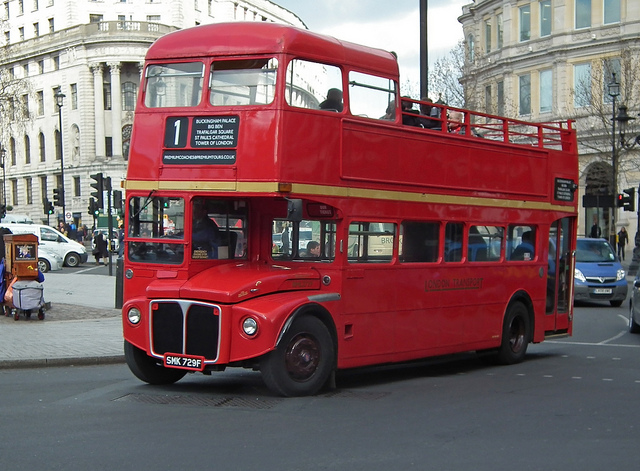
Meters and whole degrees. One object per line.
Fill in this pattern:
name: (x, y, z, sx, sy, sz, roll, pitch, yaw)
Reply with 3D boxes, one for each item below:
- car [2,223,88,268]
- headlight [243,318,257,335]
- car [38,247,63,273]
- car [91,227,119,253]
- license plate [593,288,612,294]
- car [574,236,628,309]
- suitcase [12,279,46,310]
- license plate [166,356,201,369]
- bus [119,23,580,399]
car: (-14.077, 0.687, 36.551, 3.820, 1.889, 2.049, 0, 3, -27)
headlight: (-0.873, 1.126, 8.753, 0.200, 0.200, 0.045, -9, -13, 31)
car: (-13.164, 1.208, 34.094, 1.946, 1.050, 1.095, -1, 2, -8)
car: (-12.775, 0.281, 41.750, 1.580, 1.575, 2.807, 0, -3, 3)
license plate: (8.476, 1.650, 20.988, 0.574, 0.174, 0.169, 1, -12, -13)
car: (8.633, 1.026, 21.689, 1.459, 2.423, 2.438, -6, -12, 23)
suitcase: (-6.884, 1.296, 16.598, 0.642, 0.745, 0.739, 8, 23, 0)
license plate: (-1.768, 1.622, 9.050, 0.532, 0.157, 0.026, -7, -12, 21)
bus: (1.326, -0.368, 12.427, 8.919, 5.065, 2.847, -1, 3, -43)
